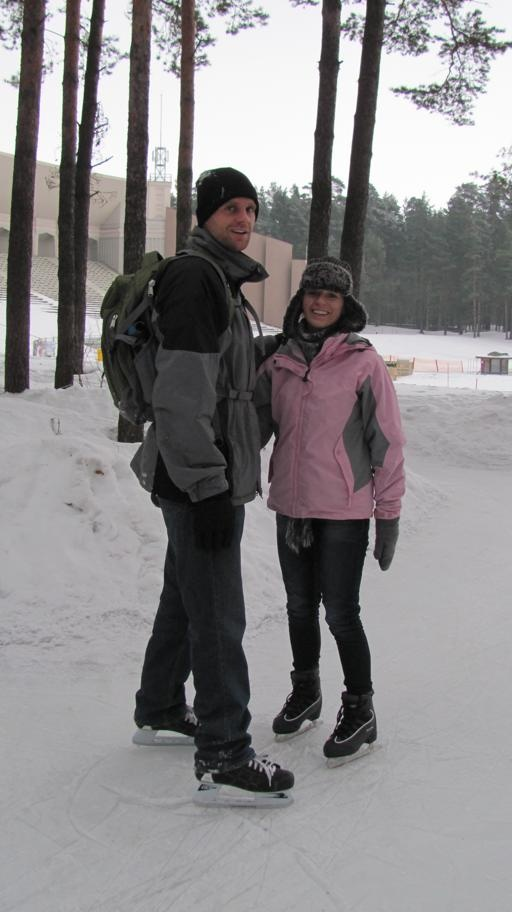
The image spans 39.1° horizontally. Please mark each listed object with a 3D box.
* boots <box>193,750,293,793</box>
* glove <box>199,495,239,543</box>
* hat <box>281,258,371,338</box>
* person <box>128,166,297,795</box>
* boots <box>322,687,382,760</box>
[{"bbox_3d":[-0.039,1.028,2.414,0.303,0.146,0.135,1,-2,-3],"label":"boots"},{"bbox_3d":[-0.128,0.187,2.299,0.104,0.148,0.041,-4,10,-15],"label":"glove"},{"bbox_3d":[0.304,-0.640,3.009,0.398,0.441,0.288,0,-4,6],"label":"hat"},{"bbox_3d":[-0.151,0.093,2.488,0.492,2.183,0.629,0,4,-15],"label":"person"},{"bbox_3d":[0.383,1.045,2.830,0.108,0.231,0.321,4,5,37],"label":"boots"}]
